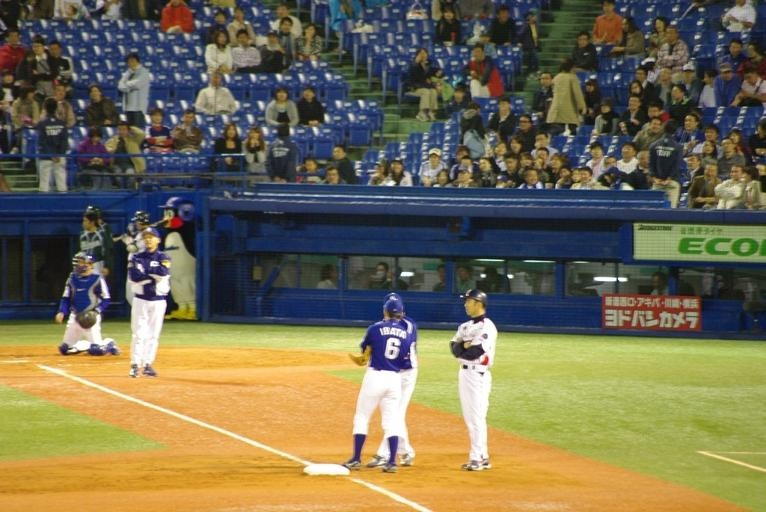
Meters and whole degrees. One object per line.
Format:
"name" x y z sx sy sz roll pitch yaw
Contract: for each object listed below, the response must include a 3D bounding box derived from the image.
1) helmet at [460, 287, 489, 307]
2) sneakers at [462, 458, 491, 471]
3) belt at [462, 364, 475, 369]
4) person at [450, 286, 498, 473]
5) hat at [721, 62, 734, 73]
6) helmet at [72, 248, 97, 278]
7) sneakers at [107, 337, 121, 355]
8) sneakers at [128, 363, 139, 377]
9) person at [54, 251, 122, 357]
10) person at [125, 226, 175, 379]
"helmet" 1.690 0.718 27.739 0.493 0.203 0.343 14 -1 4
"sneakers" 1.702 3.777 27.653 0.498 0.184 0.201 1 -2 -16
"belt" 1.558 1.995 27.541 0.246 0.093 0.035 1 -2 19
"person" 1.623 2.245 27.614 0.746 3.267 0.386 2 -2 1
"hat" 8.922 -4.856 39.215 0.249 0.238 0.279 -17 -5 -24
"helmet" -6.549 0.171 33.063 0.652 0.524 0.472 -3 3 -15
"sneakers" -5.964 1.998 33.453 0.174 0.421 0.193 -19 34 2
"sneakers" -5.174 2.352 31.506 0.201 0.264 0.272 2 -2 -9
"person" -6.492 1.044 33.088 1.287 2.210 1.045 3 -2 -19
"person" -4.916 0.942 31.594 0.841 3.074 0.591 3 -2 -9
